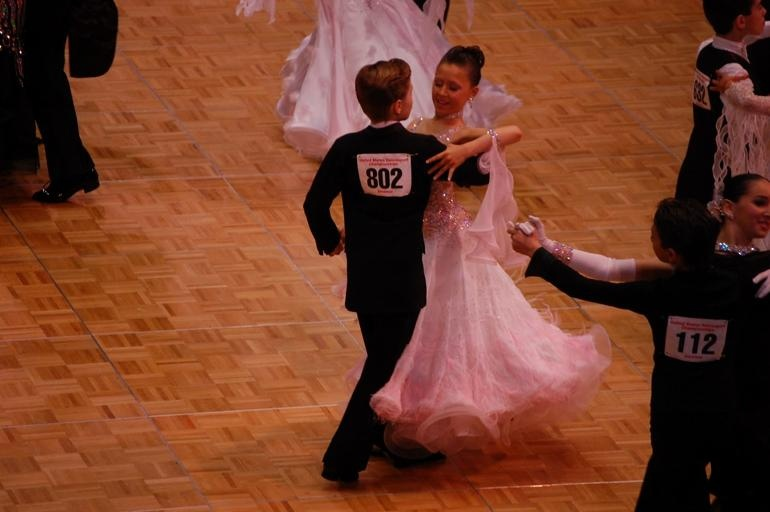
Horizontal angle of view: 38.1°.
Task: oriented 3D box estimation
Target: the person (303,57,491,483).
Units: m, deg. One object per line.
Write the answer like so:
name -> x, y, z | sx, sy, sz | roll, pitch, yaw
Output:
person -> -0.113, 0.093, 5.066 | 0.623, 1.843, 0.921 | 14, 35, 14
